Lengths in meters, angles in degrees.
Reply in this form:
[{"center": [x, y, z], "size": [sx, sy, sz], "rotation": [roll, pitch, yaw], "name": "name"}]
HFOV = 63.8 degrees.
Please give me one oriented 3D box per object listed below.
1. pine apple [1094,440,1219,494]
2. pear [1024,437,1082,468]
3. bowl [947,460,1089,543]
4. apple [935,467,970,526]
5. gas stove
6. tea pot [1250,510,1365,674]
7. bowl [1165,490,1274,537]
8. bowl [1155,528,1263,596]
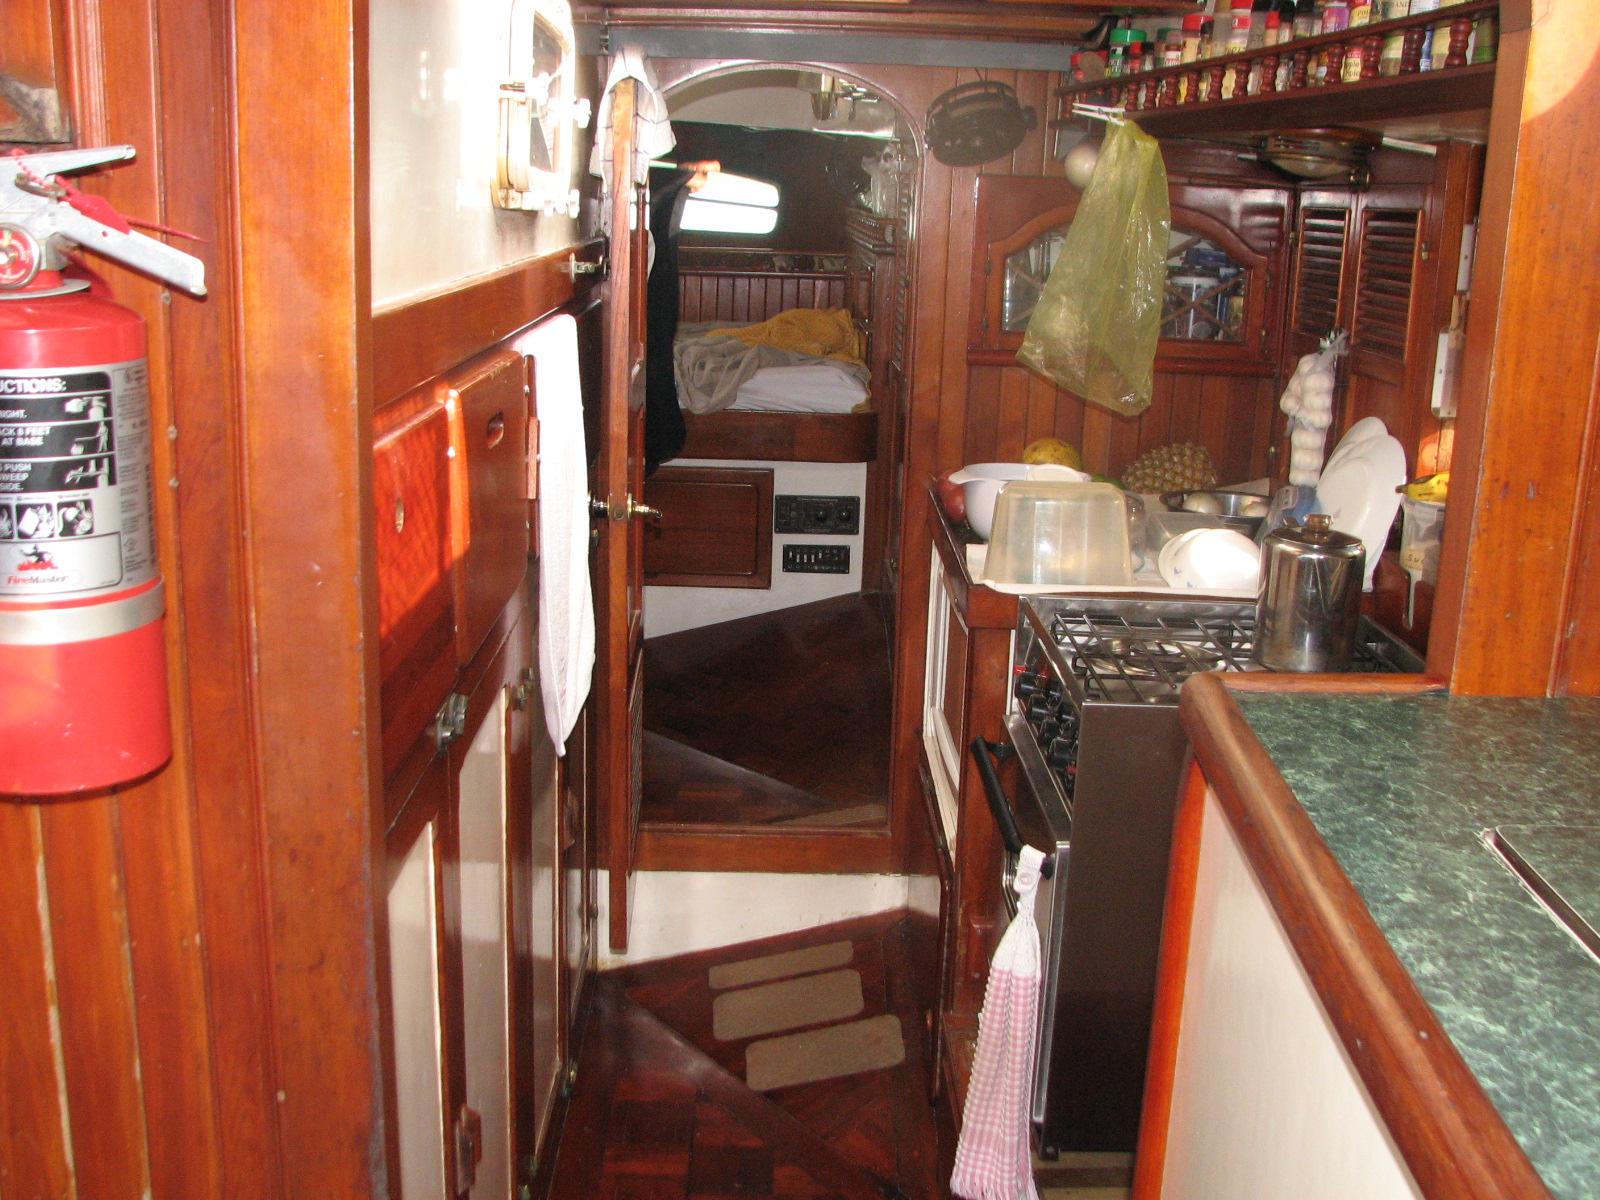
[{"center": [0.918, -0.335, 3.193], "size": [0.211, 0.105, 0.154], "rotation": [-9, 19, 0], "name": "pine apple"}, {"center": [0.608, -0.347, 3.125], "size": [0.100, 0.071, 0.124], "rotation": [5, 12, -1], "name": "pear"}, {"center": [0.489, -0.237, 2.899], "size": [0.216, 0.104, 0.193], "rotation": [0, 20, 3], "name": "bowl"}, {"center": [0.367, -0.238, 3.096], "size": [0.069, 0.123, 0.092], "rotation": [-10, 37, 12], "name": "apple"}, {"center": [0.615, 0.094, 2.269], "size": [0.335, 0.207, 0.503], "rotation": [1, 27, 2], "name": "gas stove"}, {"center": [0.816, -0.008, 2.054], "size": [0.150, 0.248, 0.105], "rotation": [6, 15, 20], "name": "tea pot"}, {"center": [0.936, -0.195, 2.843], "size": [0.151, 0.065, 0.152], "rotation": [-3, 27, 2], "name": "bowl"}, {"center": [0.817, -0.078, 2.567], "size": [0.190, 0.113, 0.172], "rotation": [5, 15, 14], "name": "bowl"}]
